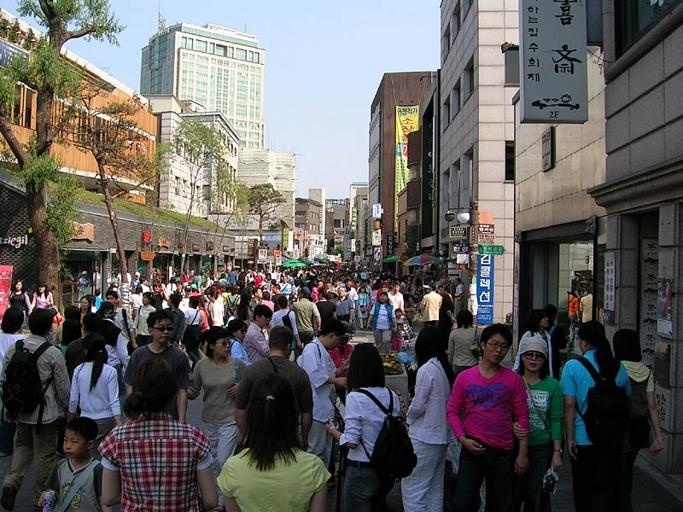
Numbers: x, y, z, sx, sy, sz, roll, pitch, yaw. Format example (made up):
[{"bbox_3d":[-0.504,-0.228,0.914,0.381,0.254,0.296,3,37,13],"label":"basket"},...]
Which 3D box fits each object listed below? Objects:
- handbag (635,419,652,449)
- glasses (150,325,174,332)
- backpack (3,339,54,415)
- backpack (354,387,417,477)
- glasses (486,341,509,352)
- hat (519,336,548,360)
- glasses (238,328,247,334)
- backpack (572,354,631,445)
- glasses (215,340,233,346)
[{"bbox_3d":[3.207,1.884,6.644,0.113,0.345,0.498,-2,-8,30],"label":"handbag"},{"bbox_3d":[-2.104,0.854,7.332,0.238,0.074,0.141,5,-8,-24],"label":"glasses"},{"bbox_3d":[-3.665,1.442,7.263,0.506,0.901,0.193,2,-6,-6],"label":"backpack"},{"bbox_3d":[0.437,1.682,6.008,0.480,0.891,0.475,8,-24,-22],"label":"backpack"},{"bbox_3d":[1.547,0.893,6.132,0.225,0.095,0.235,2,-7,0],"label":"glasses"},{"bbox_3d":[2.018,0.941,6.612,0.240,0.196,0.393,4,-8,10],"label":"hat"},{"bbox_3d":[-1.457,1.109,9.318,0.075,0.043,0.077,2,2,28],"label":"glasses"},{"bbox_3d":[2.757,1.500,6.674,0.453,0.817,0.781,-1,3,-2],"label":"backpack"},{"bbox_3d":[-1.385,1.021,7.421,0.110,0.080,0.200,-3,-8,32],"label":"glasses"}]
